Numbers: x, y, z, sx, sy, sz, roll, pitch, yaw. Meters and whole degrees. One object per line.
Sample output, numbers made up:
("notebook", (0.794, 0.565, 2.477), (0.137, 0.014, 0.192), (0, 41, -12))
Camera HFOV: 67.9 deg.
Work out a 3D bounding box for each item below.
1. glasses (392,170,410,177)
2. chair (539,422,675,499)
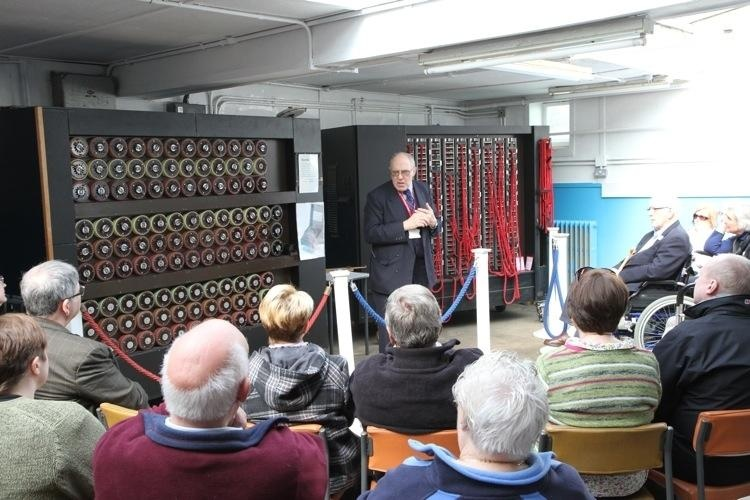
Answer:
("glasses", (0.278, -0.791, 5.853), (0.177, 0.064, 0.077), (-3, 7, -2))
("chair", (1.152, 0.965, 2.687), (0.418, 0.358, 0.358), (-2, 14, 4))
